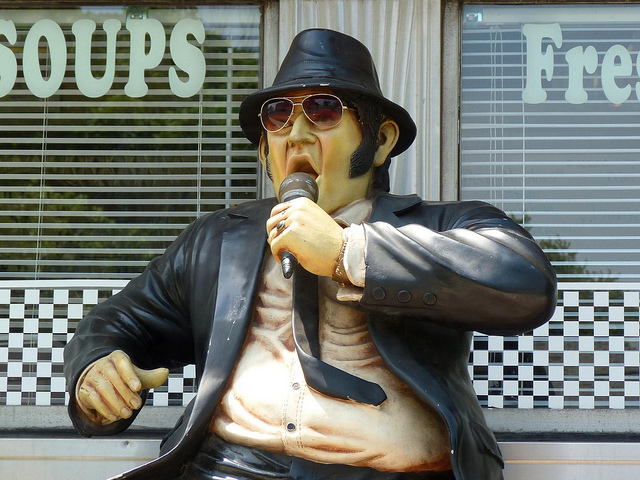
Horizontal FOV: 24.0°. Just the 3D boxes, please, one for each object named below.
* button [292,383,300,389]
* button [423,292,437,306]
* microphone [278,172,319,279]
[{"bbox_3d":[-0.108,0.636,6.598,0.024,0.023,0.006,-2,-18,1],"label":"button"},{"bbox_3d":[0.478,0.255,6.501,0.060,0.055,0.007,2,4,-2],"label":"button"},{"bbox_3d":[-0.121,-0.072,6.628,0.270,0.408,0.226,0,9,-1],"label":"microphone"}]
